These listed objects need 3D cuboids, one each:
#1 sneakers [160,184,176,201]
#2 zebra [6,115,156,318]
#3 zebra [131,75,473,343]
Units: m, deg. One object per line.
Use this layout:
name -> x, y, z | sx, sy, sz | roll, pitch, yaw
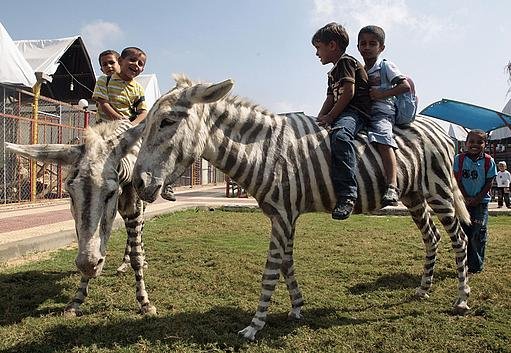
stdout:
sneakers -> -1.218, 0.236, 6.215 | 0.155, 0.222, 0.212 | 9, 18, 15
zebra -> -2.256, 0.618, 6.563 | 1.330, 2.738, 1.405 | -6, 14, -26
zebra -> 0.708, 0.309, 6.507 | 4.636, 3.398, 1.072 | -3, 12, -10
